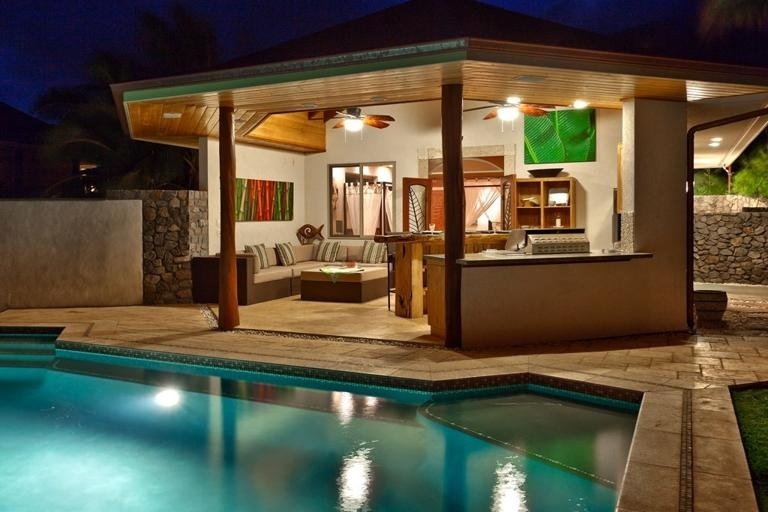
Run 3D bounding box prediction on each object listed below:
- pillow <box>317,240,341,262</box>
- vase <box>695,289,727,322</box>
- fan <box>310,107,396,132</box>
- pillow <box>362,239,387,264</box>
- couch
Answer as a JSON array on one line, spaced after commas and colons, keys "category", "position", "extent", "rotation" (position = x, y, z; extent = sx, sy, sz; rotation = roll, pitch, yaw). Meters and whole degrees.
[{"category": "pillow", "position": [-1.473, -0.136, 13.154], "extent": [0.598, 0.540, 0.175], "rotation": [6, -14, 34]}, {"category": "vase", "position": [5.936, 0.895, 8.980], "extent": [0.579, 0.423, 0.524], "rotation": [-3, 3, -19]}, {"category": "fan", "position": [-0.734, -3.322, 11.941], "extent": [1.712, 0.394, 1.742], "rotation": [0, 4, 5]}, {"category": "pillow", "position": [-0.215, -0.091, 12.255], "extent": [0.600, 0.485, 0.311], "rotation": [4, 9, 24]}, {"category": "couch", "position": [-2.233, 0.288, 12.296], "extent": [2.961, 1.264, 4.993], "rotation": [7, 6, 38]}]
